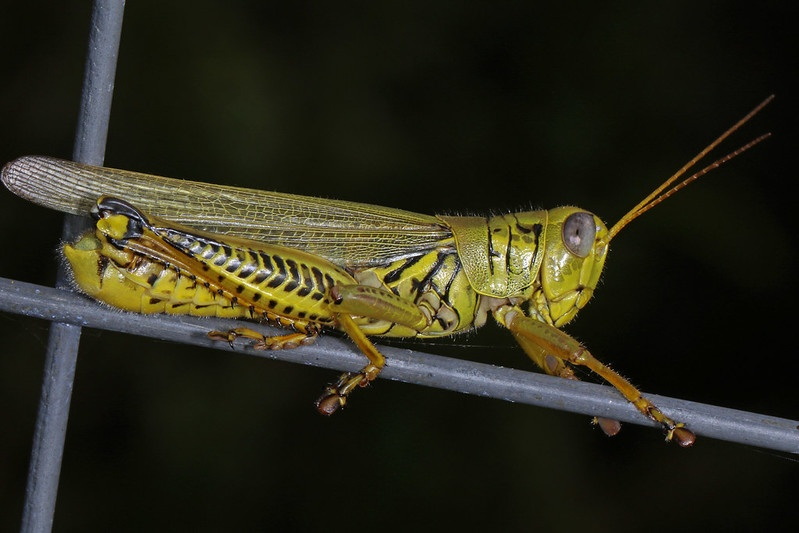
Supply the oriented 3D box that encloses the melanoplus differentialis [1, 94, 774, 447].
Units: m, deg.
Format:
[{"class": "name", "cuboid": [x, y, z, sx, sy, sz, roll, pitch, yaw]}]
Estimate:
[{"class": "melanoplus differentialis", "cuboid": [-0.230, 0.065, 3.106, 2.303, 0.807, 0.607, 6, -65, -5]}]
